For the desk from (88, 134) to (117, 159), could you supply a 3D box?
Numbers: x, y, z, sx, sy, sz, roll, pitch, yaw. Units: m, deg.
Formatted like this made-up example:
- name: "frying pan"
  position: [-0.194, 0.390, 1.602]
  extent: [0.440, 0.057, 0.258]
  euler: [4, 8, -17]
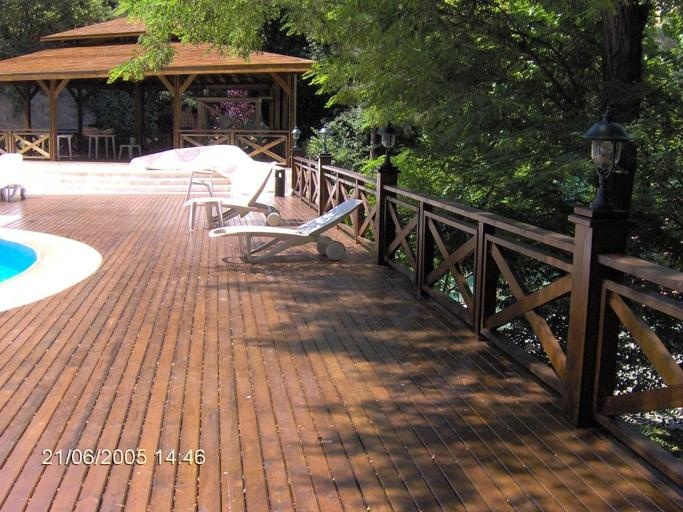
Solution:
- name: "desk"
  position: [-9.437, -4.311, 21.159]
  extent: [1.199, 1.251, 1.242]
  euler: [-3, 8, -19]

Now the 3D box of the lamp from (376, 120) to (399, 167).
- name: "lamp"
  position: [0.586, -1.453, 6.988]
  extent: [0.251, 0.562, 0.242]
  euler: [-10, 20, -34]

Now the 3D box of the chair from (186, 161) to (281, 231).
- name: "chair"
  position: [-1.799, -0.930, 8.800]
  extent: [1.655, 1.140, 1.072]
  euler: [1, 12, -5]

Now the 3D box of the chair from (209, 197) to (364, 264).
- name: "chair"
  position: [-0.973, -0.240, 7.003]
  extent: [2.389, 0.957, 0.858]
  euler: [0, 11, -10]

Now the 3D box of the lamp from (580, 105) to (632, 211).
- name: "lamp"
  position: [1.519, -0.574, 3.122]
  extent: [0.249, 0.550, 0.489]
  euler: [7, 14, 27]
